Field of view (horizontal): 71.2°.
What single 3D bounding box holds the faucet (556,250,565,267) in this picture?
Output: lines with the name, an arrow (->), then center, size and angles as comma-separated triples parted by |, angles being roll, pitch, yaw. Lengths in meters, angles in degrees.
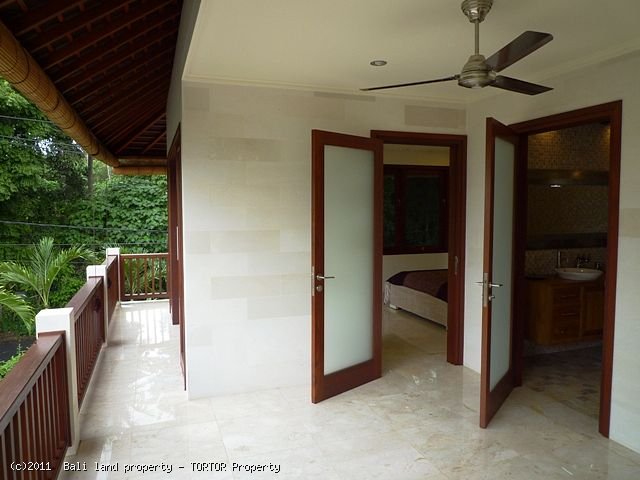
faucet -> 3.338, 0.263, 6.254 | 0.095, 0.242, 0.046 | -1, 8, -9
